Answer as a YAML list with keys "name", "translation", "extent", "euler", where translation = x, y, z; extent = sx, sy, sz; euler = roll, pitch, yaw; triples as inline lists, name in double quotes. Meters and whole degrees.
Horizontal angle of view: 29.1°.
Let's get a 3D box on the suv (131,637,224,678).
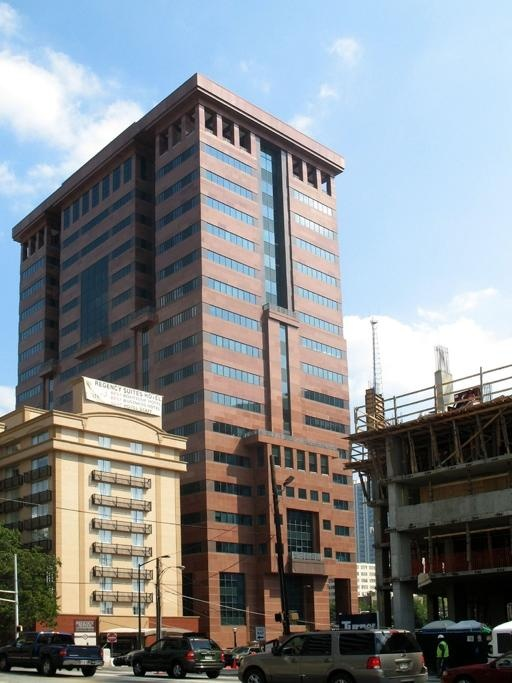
- name: "suv"
  translation: [-3.195, 12.679, 39.419]
  extent: [3.135, 1.713, 1.546]
  euler: [-13, -20, 23]
